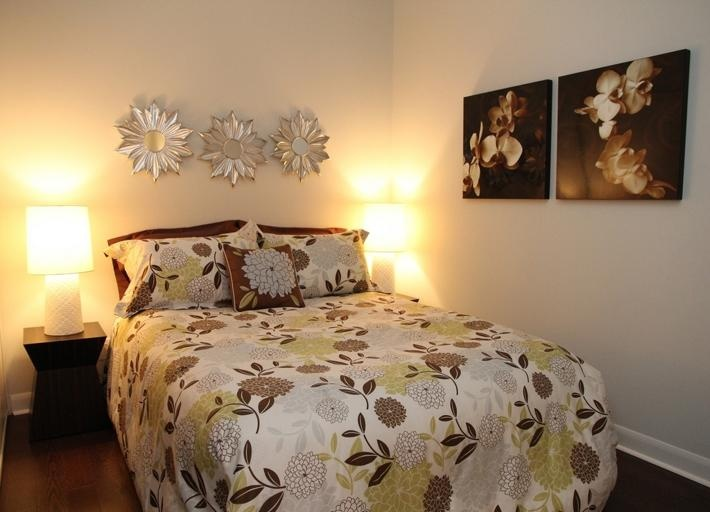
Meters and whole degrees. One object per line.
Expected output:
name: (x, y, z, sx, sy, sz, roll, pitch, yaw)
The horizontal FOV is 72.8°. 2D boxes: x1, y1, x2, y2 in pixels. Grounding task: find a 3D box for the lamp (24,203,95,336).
lamp: (-1.863, 0.084, 3.063, 0.322, 0.807, 0.283, 2, 14, 4)
